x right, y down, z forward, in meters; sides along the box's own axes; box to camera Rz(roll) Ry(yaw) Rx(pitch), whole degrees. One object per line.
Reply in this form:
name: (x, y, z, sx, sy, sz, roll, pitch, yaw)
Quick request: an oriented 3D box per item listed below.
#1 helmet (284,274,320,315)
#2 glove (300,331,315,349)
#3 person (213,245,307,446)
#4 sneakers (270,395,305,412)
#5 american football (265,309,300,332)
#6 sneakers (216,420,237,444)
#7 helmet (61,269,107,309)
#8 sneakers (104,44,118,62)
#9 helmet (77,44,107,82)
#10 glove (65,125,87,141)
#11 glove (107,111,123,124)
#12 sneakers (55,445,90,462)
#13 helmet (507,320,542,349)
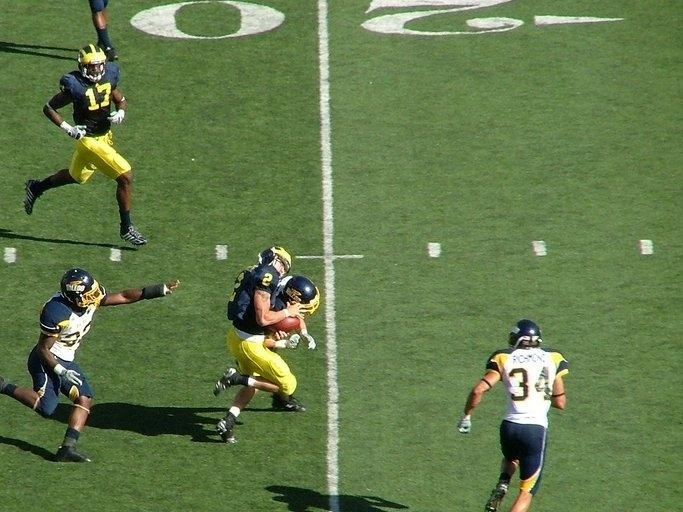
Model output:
helmet: (-0.477, 0.420, 15.240, 0.324, 0.423, 0.415, -16, 37, -27)
glove: (-0.357, 0.954, 15.336, 0.231, 0.077, 0.165, 37, 2, -5)
person: (-0.928, 1.015, 15.252, 0.948, 2.048, 1.367, 3, 34, -2)
sneakers: (-0.639, 1.688, 15.646, 0.496, 0.118, 0.168, 4, -11, -5)
american football: (-0.654, 0.745, 15.163, 0.329, 0.135, 0.179, -6, 6, -10)
sneakers: (-1.294, 1.968, 15.220, 0.106, 0.283, 0.199, -38, 19, 17)
helmet: (-2.823, 0.344, 14.846, 0.623, 0.319, 0.335, 15, 43, -5)
sneakers: (-3.276, -2.880, 19.423, 0.205, 0.155, 0.090, 48, 28, -1)
helmet: (-3.040, -2.341, 16.566, 0.327, 0.396, 0.343, -2, 33, -9)
glove: (-3.247, -1.481, 16.556, 0.193, 0.196, 0.199, 13, 34, 15)
glove: (-2.784, -1.712, 16.855, 0.175, 0.073, 0.174, -3, 34, -15)
sneakers: (-2.974, 2.147, 14.930, 0.407, 0.161, 0.158, 0, 26, -11)
helmet: (1.936, 0.817, 14.606, 0.343, 0.272, 0.345, 7, 15, -17)
